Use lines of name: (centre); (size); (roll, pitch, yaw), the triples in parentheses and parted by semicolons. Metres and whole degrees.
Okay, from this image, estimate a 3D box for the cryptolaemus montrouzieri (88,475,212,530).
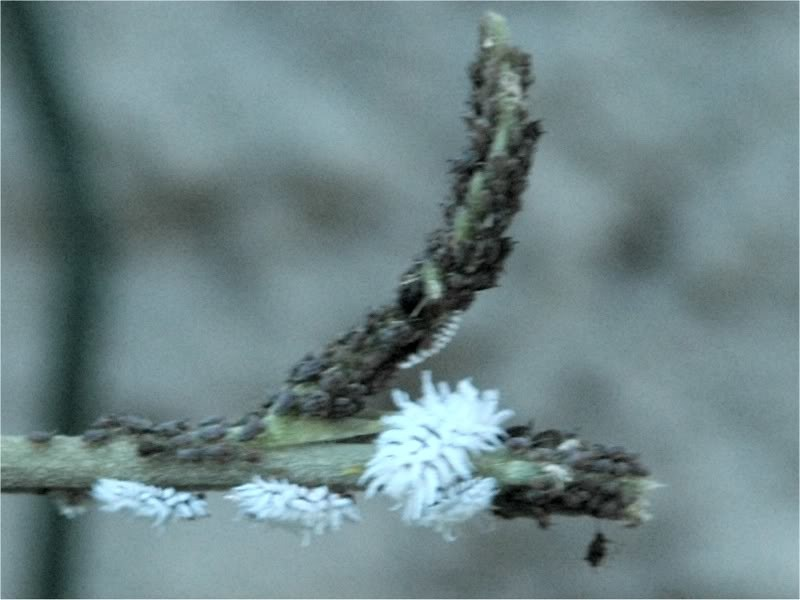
cryptolaemus montrouzieri: (-0.652, 0.523, 3.600); (0.179, 0.044, 0.169); (15, -42, -18)
